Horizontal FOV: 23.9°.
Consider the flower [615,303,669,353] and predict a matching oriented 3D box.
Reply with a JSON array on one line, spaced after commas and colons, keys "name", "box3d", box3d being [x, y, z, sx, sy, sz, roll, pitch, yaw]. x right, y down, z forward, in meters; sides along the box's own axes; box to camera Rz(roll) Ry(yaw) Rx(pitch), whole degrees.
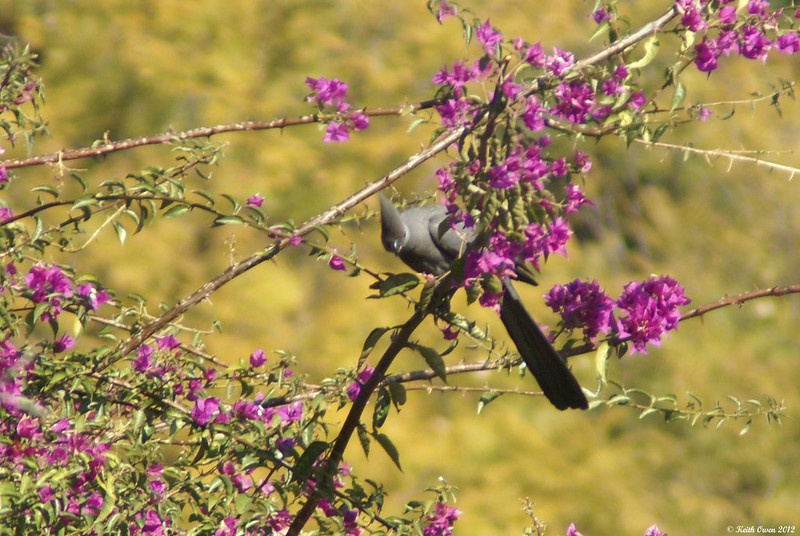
[{"name": "flower", "box3d": [1.692, 0.385, 13.419, 0.418, 0.405, 0.247, -2, -88, -32]}]

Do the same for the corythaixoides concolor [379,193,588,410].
[{"name": "corythaixoides concolor", "box3d": [0.499, 0.070, 14.522, 0.574, 0.870, 2.088, -17, -27, 39]}]
